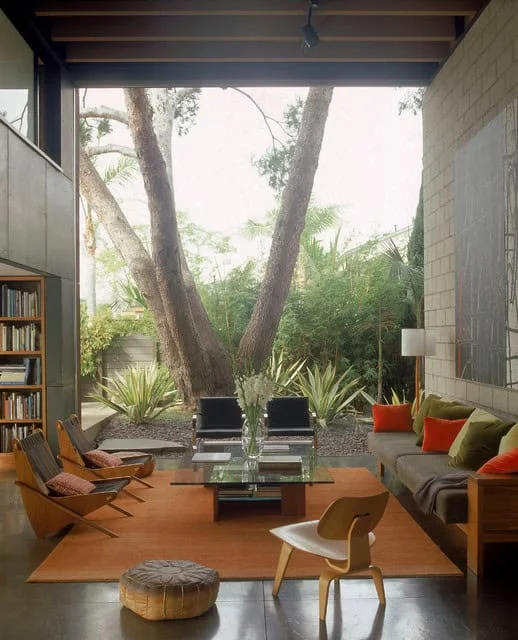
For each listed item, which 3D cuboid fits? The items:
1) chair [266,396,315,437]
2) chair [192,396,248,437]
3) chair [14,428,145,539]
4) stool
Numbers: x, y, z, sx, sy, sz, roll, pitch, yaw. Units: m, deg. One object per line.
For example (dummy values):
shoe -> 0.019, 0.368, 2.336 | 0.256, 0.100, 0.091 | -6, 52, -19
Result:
chair -> 0.368, 1.167, 5.934 | 0.572, 0.458, 0.630 | -1, -7, 2
chair -> -0.481, 1.168, 5.886 | 0.561, 0.460, 0.609 | 0, -7, -3
chair -> -1.356, 1.189, 3.619 | 0.858, 0.845, 0.626 | 1, 0, -2
stool -> -0.409, 1.227, 2.247 | 0.405, 0.165, 0.364 | -6, -9, 42
